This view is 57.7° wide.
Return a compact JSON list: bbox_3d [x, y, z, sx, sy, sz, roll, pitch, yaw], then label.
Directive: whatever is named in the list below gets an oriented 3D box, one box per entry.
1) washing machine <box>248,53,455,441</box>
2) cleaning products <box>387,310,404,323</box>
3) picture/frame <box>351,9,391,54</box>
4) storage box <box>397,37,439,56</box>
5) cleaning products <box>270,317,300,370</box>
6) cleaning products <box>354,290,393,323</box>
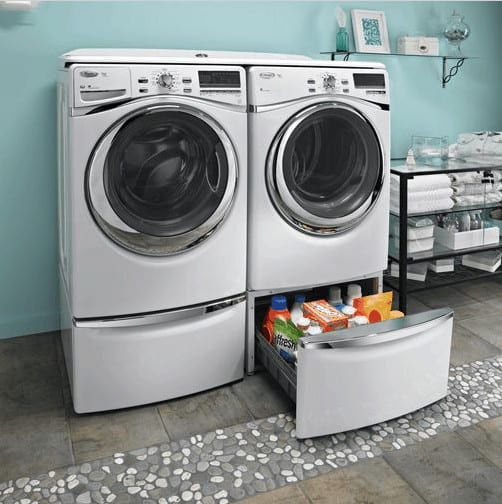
[{"bbox_3d":[0.297,-0.081,1.565,0.661,1.144,0.741,-5,17,-8],"label":"washing machine"},{"bbox_3d":[0.495,0.221,1.564,0.042,0.034,0.040,9,19,28],"label":"cleaning products"},{"bbox_3d":[0.618,-1.158,2.387,0.331,0.259,0.033,-5,1,-28],"label":"picture/frame"},{"bbox_3d":[0.918,-1.138,2.510,0.256,0.108,0.069,-8,18,-23],"label":"storage box"},{"bbox_3d":[0.116,0.304,1.532,0.092,0.123,0.147,-8,12,-30],"label":"cleaning products"},{"bbox_3d":[0.443,0.204,1.681,0.163,0.094,0.073,-5,20,-7],"label":"cleaning products"}]
